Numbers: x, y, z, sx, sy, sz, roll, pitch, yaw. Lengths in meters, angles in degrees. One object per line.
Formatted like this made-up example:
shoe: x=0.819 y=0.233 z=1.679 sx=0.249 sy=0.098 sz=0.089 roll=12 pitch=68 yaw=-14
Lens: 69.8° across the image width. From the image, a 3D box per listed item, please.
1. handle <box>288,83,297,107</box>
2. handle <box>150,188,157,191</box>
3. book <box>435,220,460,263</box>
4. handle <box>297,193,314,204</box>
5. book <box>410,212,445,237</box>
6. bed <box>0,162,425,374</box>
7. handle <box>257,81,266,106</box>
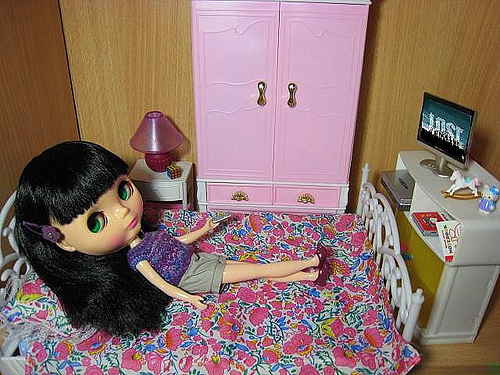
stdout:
handle: x=0.355 y=-0.781 z=3.028 sx=0.070 sy=0.186 sz=0.054 roll=0 pitch=34 yaw=4
handle: x=-0.912 y=0.018 z=3.379 sx=0.036 sy=0.021 sz=0.009 roll=-1 pitch=6 yaw=1
book: x=1.431 y=0.387 z=2.586 sx=0.150 sy=0.218 sz=0.235 roll=0 pitch=36 yaw=4
handle: x=0.528 y=0.107 z=3.403 sx=0.117 sy=0.080 sz=0.042 roll=10 pitch=10 yaw=7
book: x=1.409 y=0.263 z=2.803 sx=0.250 sy=0.050 sz=0.276 roll=14 pitch=53 yaw=28
bed: x=-0.260 y=0.978 z=2.925 sx=2.435 sy=1.126 sz=1.767 roll=0 pitch=53 yaw=0
handle: x=0.100 y=-0.802 z=3.034 sx=0.066 sy=0.168 sz=0.054 roll=1 pitch=17 yaw=1
